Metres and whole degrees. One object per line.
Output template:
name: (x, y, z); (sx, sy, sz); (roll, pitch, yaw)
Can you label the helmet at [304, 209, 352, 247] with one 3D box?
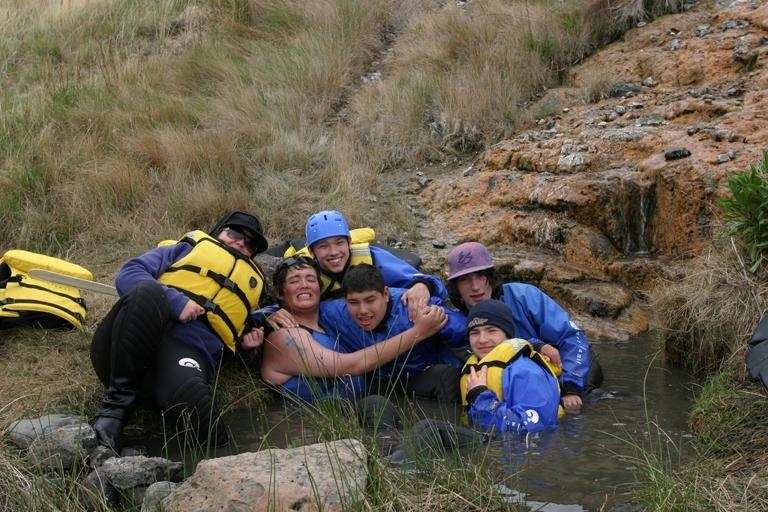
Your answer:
helmet: (-0.725, -0.342, 11.286); (0.364, 0.536, 0.403); (-2, -5, -5)
